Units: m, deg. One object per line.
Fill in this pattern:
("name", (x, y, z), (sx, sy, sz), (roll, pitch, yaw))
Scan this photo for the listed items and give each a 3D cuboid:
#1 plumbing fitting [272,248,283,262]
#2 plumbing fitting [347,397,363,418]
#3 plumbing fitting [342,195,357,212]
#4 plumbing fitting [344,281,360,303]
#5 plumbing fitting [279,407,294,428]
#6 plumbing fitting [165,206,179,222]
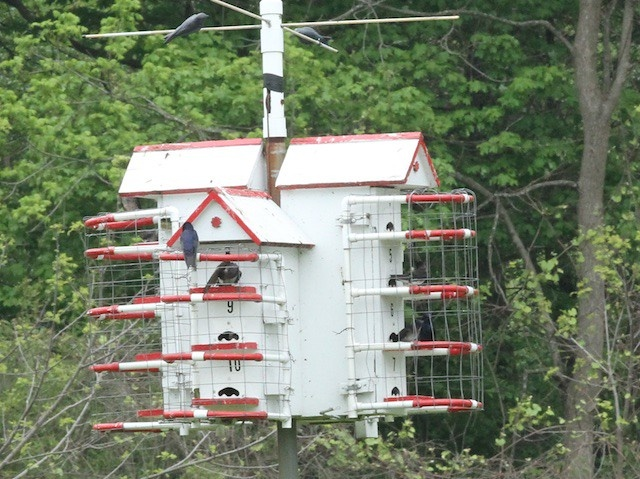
("plumbing fitting", (-0.820, 0.301, 36.347), (0.131, 0.217, 0.286), (-3, 0, 35))
("plumbing fitting", (0.459, 2.796, 36.593), (0.201, 0.407, 0.299), (4, -8, -36))
("plumbing fitting", (0.374, -0.565, 36.629), (0.287, 0.280, 0.141), (-3, 0, 9))
("plumbing fitting", (0.408, 0.893, 36.609), (0.282, 0.352, 0.213), (-3, 0, 4))
("plumbing fitting", (-0.659, 2.978, 36.550), (0.318, 0.468, 0.289), (-1, -7, 6))
("plumbing fitting", (-2.596, -0.401, 36.732), (0.250, 0.333, 0.144), (4, -2, 33))
